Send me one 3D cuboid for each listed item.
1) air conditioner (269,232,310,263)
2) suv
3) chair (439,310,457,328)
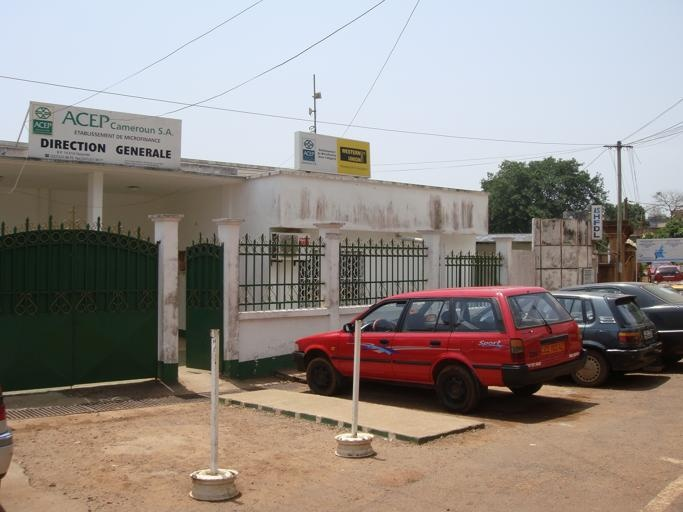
[{"bbox_3d":[-1.279,-0.226,15.627,0.812,0.641,0.455,-1,-6,-2],"label":"air conditioner"},{"bbox_3d":[1.683,1.353,11.127,3.899,1.605,1.991,1,-1,38],"label":"suv"},{"bbox_3d":[1.701,1.015,10.376,0.314,0.461,0.242,1,-4,0],"label":"chair"}]
